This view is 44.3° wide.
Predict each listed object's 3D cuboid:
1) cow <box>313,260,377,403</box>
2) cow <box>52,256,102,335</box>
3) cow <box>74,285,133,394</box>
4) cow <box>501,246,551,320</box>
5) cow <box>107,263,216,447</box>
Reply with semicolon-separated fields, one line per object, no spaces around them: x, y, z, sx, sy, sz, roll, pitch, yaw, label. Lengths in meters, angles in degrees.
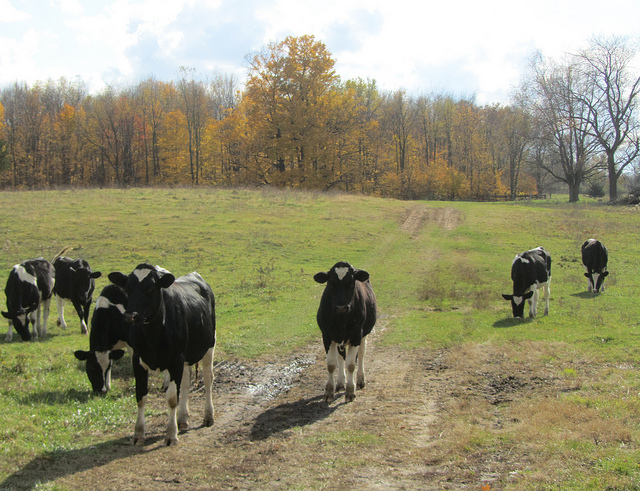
0.817;2.668;26.011;1.688;4.420;2.067;3;11;2;cow
-9.755;1.819;30.981;1.340;2.941;4.859;0;5;-32;cow
-6.977;3.038;25.578;1.464;2.563;4.586;0;12;-10;cow
8.869;1.602;33.226;1.304;2.928;4.810;-3;4;30;cow
-4.620;3.127;24.118;2.821;5.349;2.387;-4;13;-29;cow
